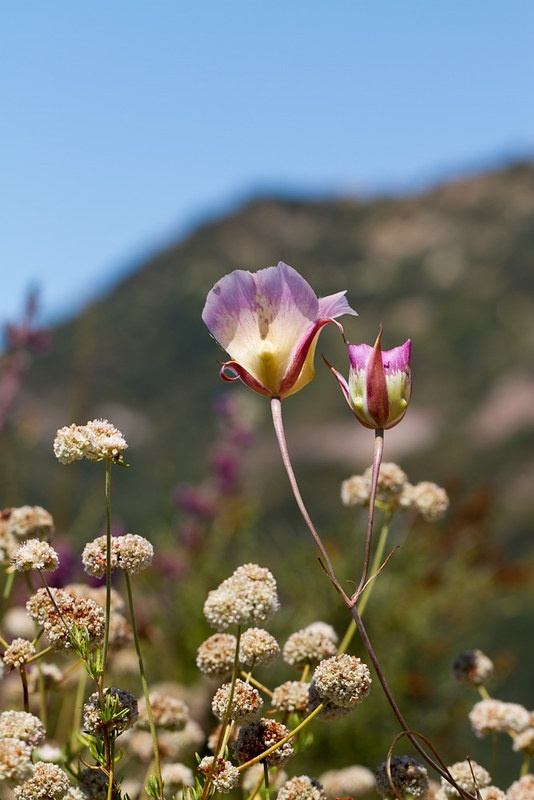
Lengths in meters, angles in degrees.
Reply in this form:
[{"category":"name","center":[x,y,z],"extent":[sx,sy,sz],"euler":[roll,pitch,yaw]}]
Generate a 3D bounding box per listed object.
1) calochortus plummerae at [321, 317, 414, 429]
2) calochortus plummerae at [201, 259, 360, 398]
[{"category":"calochortus plummerae","center":[0.081,-0.015,0.871],"extent":[0.057,0.078,0.051],"euler":[-1,15,14]},{"category":"calochortus plummerae","center":[0.002,-0.058,0.935],"extent":[0.115,0.077,0.112],"euler":[15,-13,-30]}]
